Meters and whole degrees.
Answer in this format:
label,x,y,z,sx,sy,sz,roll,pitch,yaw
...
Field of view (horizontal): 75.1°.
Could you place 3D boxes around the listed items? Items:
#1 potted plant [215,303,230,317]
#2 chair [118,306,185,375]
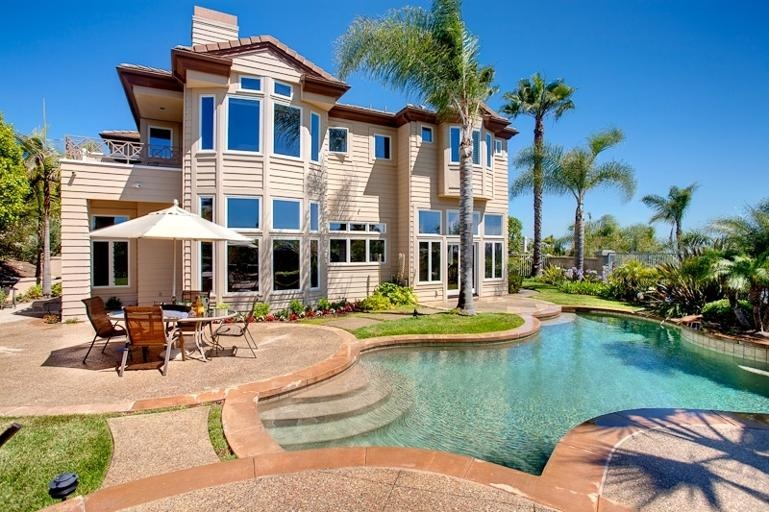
label,x,y,z,sx,sy,sz,roll,pitch,yaw
potted plant,-6.228,2.072,19.181,0.420,0.527,0.500,0,-2,0
chair,-8.198,2.635,17.449,1.782,2.292,1.902,1,10,2
